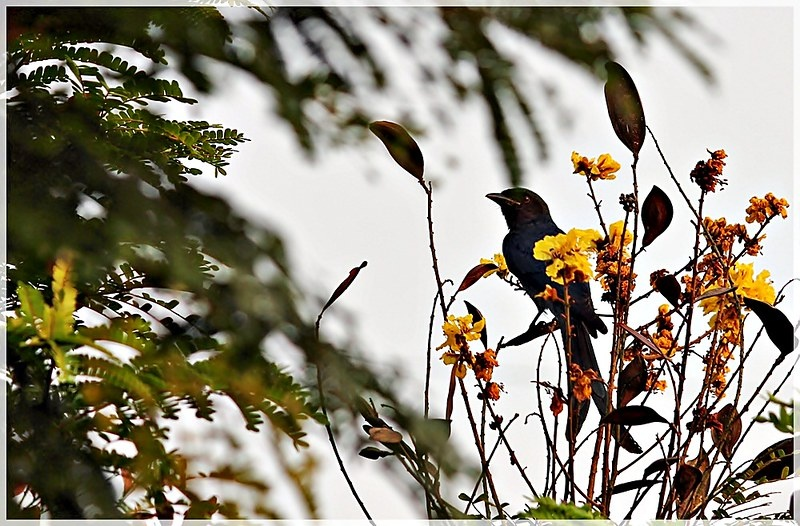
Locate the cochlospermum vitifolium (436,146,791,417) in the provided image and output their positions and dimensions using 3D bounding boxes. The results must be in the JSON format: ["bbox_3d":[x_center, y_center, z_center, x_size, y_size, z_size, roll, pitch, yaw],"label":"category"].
[{"bbox_3d":[0.280,0.010,1.801,0.245,0.670,0.435,-16,-20,40],"label":"cochlospermum vitifolium"}]

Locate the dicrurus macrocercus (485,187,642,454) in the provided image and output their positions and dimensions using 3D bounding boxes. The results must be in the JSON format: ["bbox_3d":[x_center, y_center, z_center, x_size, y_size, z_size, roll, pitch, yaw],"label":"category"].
[{"bbox_3d":[0.261,0.052,1.900,0.182,0.446,0.233,6,-14,-35],"label":"dicrurus macrocercus"}]
